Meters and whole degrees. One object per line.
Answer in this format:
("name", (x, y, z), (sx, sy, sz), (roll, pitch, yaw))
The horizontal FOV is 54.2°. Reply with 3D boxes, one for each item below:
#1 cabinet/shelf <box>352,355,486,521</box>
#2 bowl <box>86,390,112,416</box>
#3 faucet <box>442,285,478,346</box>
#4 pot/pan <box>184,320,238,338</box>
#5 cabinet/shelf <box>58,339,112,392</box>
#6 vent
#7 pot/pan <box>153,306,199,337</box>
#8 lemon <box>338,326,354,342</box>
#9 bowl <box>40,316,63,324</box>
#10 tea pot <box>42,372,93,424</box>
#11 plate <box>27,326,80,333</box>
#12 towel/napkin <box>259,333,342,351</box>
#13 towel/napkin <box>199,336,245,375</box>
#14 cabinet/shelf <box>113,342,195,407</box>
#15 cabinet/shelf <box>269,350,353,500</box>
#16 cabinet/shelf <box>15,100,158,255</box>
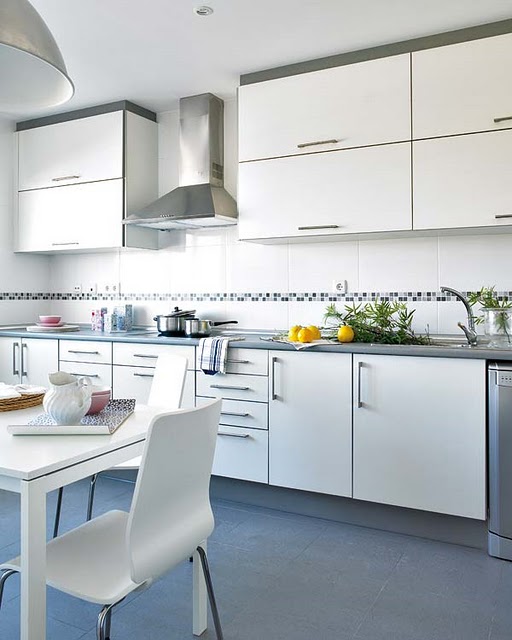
("cabinet/shelf", (0.798, 0.476, 2.415), (0.635, 0.736, 0.506), (-5, -7, 39))
("bowl", (-0.466, 0.247, 1.502), (0.060, 0.048, 0.067), (-1, -4, 0))
("faucet", (1.019, -0.029, 2.524), (0.160, 0.294, 0.340), (1, 0, 21))
("pot/pan", (-0.277, 0.039, 2.998), (0.241, 0.094, 0.138), (1, -1, 4))
("cabinet/shelf", (-1.103, 0.337, 3.196), (0.327, 0.339, 0.223), (6, -27, -30))
("vent", (-0.275, -1.090, 3.325), (0.810, 0.768, 0.874), (-12, 21, 0))
("pot/pan", (-0.522, -0.009, 3.158), (0.190, 0.141, 0.172), (-1, 3, -13))
("lemon", (0.455, 0.066, 2.537), (0.073, 0.101, 0.076), (-3, 0, 15))
("bowl", (-1.462, -0.004, 3.549), (0.089, 0.041, 0.094), (1, 0, 0))
("tea pot", (-0.499, 0.215, 1.335), (0.115, 0.145, 0.107), (6, 15, -2))
("plate", (-1.411, 0.058, 3.504), (0.338, 0.050, 0.285), (1, 0, -26))
("towel/napkin", (0.256, 0.115, 2.615), (0.442, 0.054, 0.374), (1, 0, 24))
("towel/napkin", (-0.220, 0.178, 2.642), (0.186, 0.208, 0.065), (2, -1, 26))
("cabinet/shelf", (-0.610, 0.328, 3.058), (0.489, 0.380, 0.283), (0, 1, 32))
("cabinet/shelf", (0.211, 0.470, 2.606), (0.372, 0.569, 0.382), (17, -10, -33))
("cabinet/shelf", (-1.298, -0.946, 3.710), (0.973, 0.948, 0.377), (-2, -3, 16))
